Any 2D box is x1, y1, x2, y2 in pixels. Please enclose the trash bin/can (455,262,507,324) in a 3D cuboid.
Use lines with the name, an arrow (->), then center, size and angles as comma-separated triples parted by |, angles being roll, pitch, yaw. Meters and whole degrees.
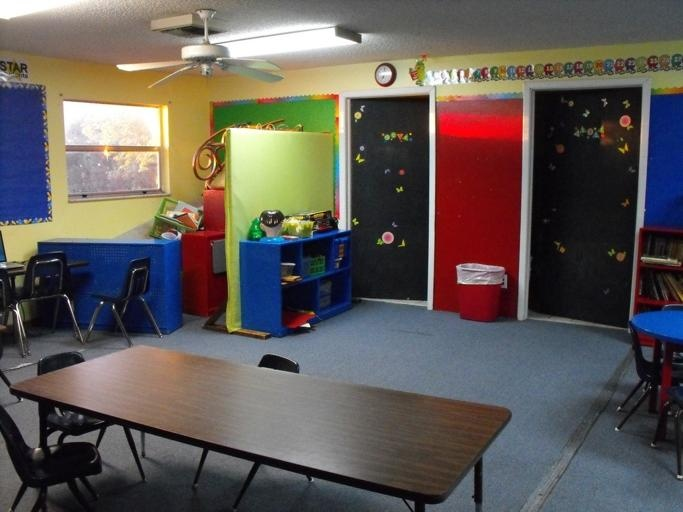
trash bin/can -> 1.864, 0.439, 7.040 | 0.840, 0.920, 0.691 | 0, 2, 32

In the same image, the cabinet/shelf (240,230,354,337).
cabinet/shelf -> -0.634, 0.361, 6.700 | 0.434, 0.790, 1.309 | 1, 7, 24

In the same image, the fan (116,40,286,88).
fan -> -1.308, -1.846, 5.044 | 1.033, 0.252, 1.030 | -9, 14, -37

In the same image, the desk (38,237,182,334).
desk -> -3.023, 0.393, 6.804 | 1.767, 1.151, 0.532 | 2, 3, 9

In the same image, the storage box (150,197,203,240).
storage box -> -2.441, -0.552, 7.664 | 0.696, 0.300, 0.680 | 14, 37, 5

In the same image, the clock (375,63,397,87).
clock -> 0.629, -2.558, 7.292 | 0.361, 0.354, 0.107 | 1, 9, 44

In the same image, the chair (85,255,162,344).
chair -> -2.676, 0.498, 6.257 | 0.870, 1.040, 0.602 | 7, 15, 27

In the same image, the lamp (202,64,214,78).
lamp -> -1.264, -1.758, 4.918 | 0.105, 0.104, 0.105 | -7, 14, -25
